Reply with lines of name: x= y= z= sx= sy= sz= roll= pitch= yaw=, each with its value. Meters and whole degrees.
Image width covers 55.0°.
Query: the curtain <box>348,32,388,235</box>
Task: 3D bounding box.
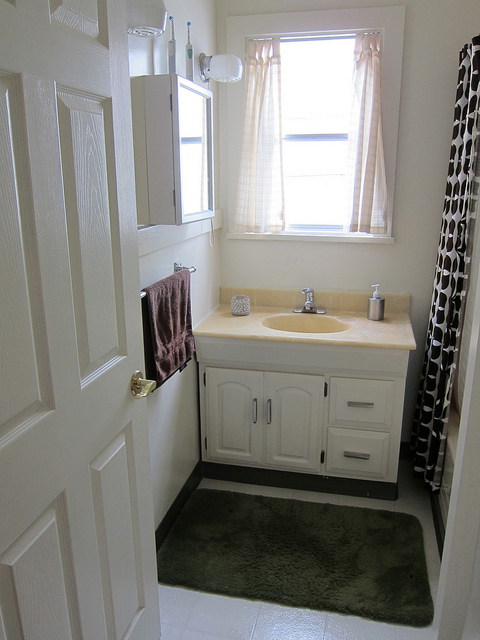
curtain: x=0.687 y=-0.975 z=2.440 sx=0.223 sy=1.006 sz=0.112 roll=3 pitch=9 yaw=20

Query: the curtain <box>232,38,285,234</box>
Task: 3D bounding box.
curtain: x=0.107 y=-1.015 z=2.561 sx=0.284 sy=1.026 sz=0.100 roll=1 pitch=9 yaw=10

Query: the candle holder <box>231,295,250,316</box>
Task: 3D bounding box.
candle holder: x=0.003 y=-0.086 z=2.674 sx=0.071 sy=0.104 sz=0.095 roll=0 pitch=15 yaw=1

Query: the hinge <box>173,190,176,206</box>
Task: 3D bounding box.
hinge: x=-0.236 y=-0.439 z=1.651 sx=0.010 sy=0.052 sz=0.005 roll=1 pitch=9 yaw=7

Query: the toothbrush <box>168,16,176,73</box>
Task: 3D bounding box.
toothbrush: x=-0.253 y=-1.013 z=1.703 sx=0.023 sy=0.199 sz=0.070 roll=-2 pitch=9 yaw=-9

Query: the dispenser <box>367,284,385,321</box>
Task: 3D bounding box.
dispenser: x=0.759 y=-0.097 z=2.563 sx=0.088 sy=0.260 sz=0.111 roll=5 pitch=18 yaw=21

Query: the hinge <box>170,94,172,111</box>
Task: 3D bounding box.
hinge: x=-0.237 y=-0.746 z=1.576 sx=0.008 sy=0.047 sz=0.009 roll=-2 pitch=9 yaw=-10
